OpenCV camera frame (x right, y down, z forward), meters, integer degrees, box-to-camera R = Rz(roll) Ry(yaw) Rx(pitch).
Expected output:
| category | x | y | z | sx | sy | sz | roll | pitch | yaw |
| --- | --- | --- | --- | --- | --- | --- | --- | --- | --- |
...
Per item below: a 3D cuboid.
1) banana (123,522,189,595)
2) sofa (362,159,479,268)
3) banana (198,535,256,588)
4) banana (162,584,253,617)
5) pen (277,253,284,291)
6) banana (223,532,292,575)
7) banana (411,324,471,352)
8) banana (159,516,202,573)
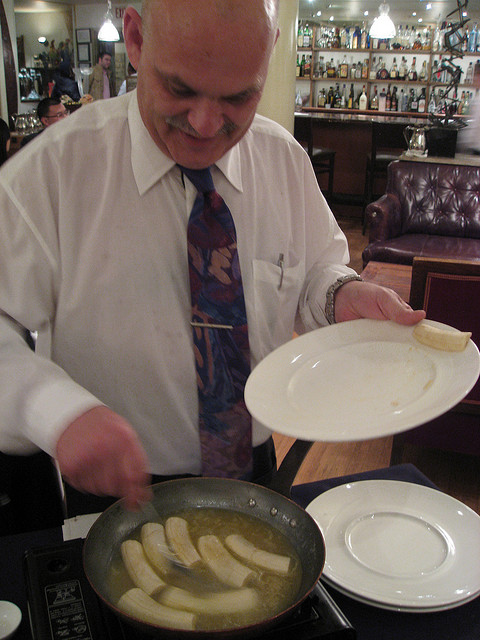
| category | x | y | z | sx | sy | sz | roll | pitch | yaw |
| --- | --- | --- | --- | --- | --- | --- | --- | --- | --- |
| banana | -0.101 | 0.264 | 0.513 | 0.063 | 0.022 | 0.089 | -9 | 15 | -43 |
| sofa | 1.662 | -0.999 | 4.175 | 1.010 | 0.960 | 0.803 | 4 | 11 | 14 |
| banana | -0.020 | 0.280 | 0.527 | 0.037 | 0.024 | 0.077 | -8 | 20 | -42 |
| banana | -0.030 | 0.279 | 0.460 | 0.088 | 0.031 | 0.024 | 7 | 27 | 0 |
| pen | 0.087 | -0.101 | 0.989 | 0.013 | 0.077 | 0.038 | 4 | -6 | 0 |
| banana | 0.020 | 0.269 | 0.530 | 0.026 | 0.028 | 0.087 | 2 | 10 | -38 |
| banana | 0.320 | 0.023 | 0.741 | 0.041 | 0.023 | 0.066 | -47 | 31 | -23 |
| banana | -0.066 | 0.258 | 0.538 | 0.023 | 0.018 | 0.072 | -6 | 33 | -18 |
